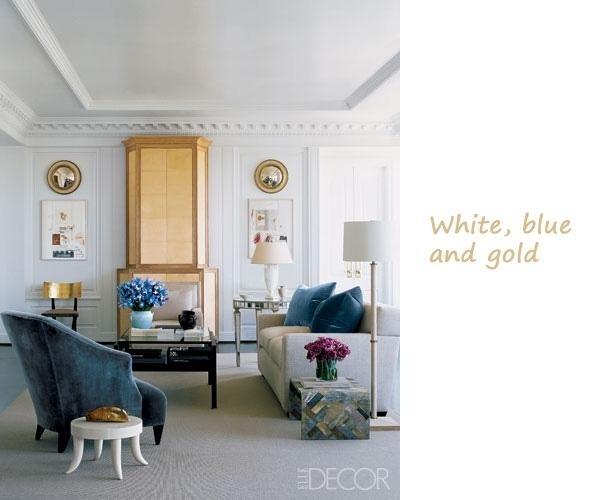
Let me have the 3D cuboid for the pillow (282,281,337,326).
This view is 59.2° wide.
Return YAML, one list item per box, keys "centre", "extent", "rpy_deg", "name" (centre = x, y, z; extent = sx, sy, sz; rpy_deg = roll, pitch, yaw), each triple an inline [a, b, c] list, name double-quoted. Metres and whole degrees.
- centre: [0.033, 0.514, 4.906]
  extent: [0.248, 0.450, 0.714]
  rpy_deg: [12, -14, -22]
  name: "pillow"

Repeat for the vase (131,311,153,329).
- centre: [-1.390, 0.581, 4.551]
  extent: [0.148, 0.126, 0.158]
  rpy_deg: [1, 1, 3]
  name: "vase"

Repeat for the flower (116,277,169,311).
- centre: [-1.372, 0.371, 4.559]
  extent: [0.346, 0.293, 0.330]
  rpy_deg: [2, 4, 27]
  name: "flower"

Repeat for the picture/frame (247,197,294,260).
- centre: [-0.446, -0.267, 6.434]
  extent: [0.775, 1.055, 0.038]
  rpy_deg: [1, 0, -6]
  name: "picture/frame"

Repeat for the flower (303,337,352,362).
- centre: [0.140, 0.659, 3.640]
  extent: [0.203, 0.171, 0.204]
  rpy_deg: [2, -5, -1]
  name: "flower"

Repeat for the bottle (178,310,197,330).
- centre: [-1.034, 0.608, 4.764]
  extent: [0.166, 0.194, 0.154]
  rpy_deg: [2, 4, 0]
  name: "bottle"

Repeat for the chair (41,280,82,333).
- centre: [-2.871, 0.716, 6.326]
  extent: [0.433, 0.651, 0.419]
  rpy_deg: [1, 4, -19]
  name: "chair"

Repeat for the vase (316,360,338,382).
- centre: [0.145, 0.805, 3.608]
  extent: [0.133, 0.152, 0.134]
  rpy_deg: [2, -1, -32]
  name: "vase"

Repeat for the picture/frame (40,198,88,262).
- centre: [-3.002, -0.239, 6.623]
  extent: [0.774, 1.070, 0.052]
  rpy_deg: [0, 1, -6]
  name: "picture/frame"

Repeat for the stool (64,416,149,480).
- centre: [-1.119, 1.088, 3.020]
  extent: [0.441, 0.307, 0.337]
  rpy_deg: [0, 2, -12]
  name: "stool"

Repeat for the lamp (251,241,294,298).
- centre: [-0.347, 0.207, 5.551]
  extent: [0.451, 0.579, 0.462]
  rpy_deg: [1, -2, -16]
  name: "lamp"
